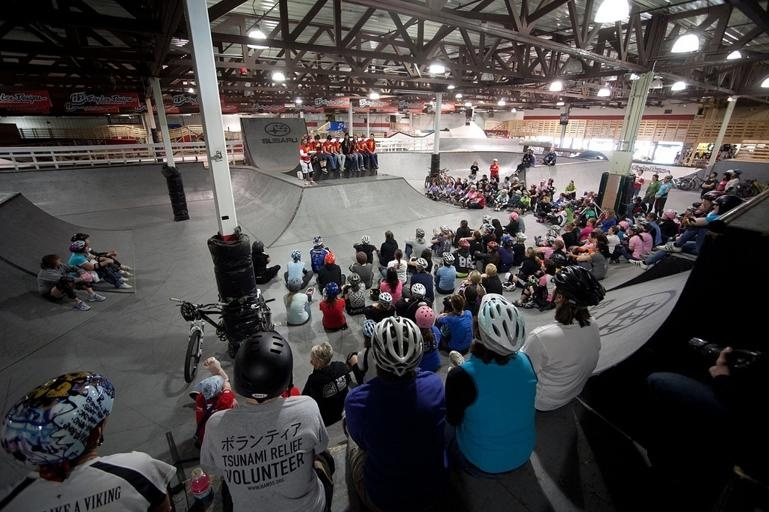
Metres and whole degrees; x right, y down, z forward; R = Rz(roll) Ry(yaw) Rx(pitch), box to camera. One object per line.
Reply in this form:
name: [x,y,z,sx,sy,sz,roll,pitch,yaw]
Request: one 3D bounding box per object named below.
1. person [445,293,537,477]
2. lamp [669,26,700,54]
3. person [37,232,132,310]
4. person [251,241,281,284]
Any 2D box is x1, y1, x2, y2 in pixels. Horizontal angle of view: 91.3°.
person: [1.144,1.443,4.087,1.025,1.727,0.733,1,20,0]
lamp: [7.472,-5.294,9.297,0.715,0.397,0.362,-13,24,-38]
person: [-6.535,0.480,8.079,1.655,1.021,1.562,8,23,-16]
person: [-2.975,0.091,8.984,0.905,1.031,0.704,3,28,-4]
